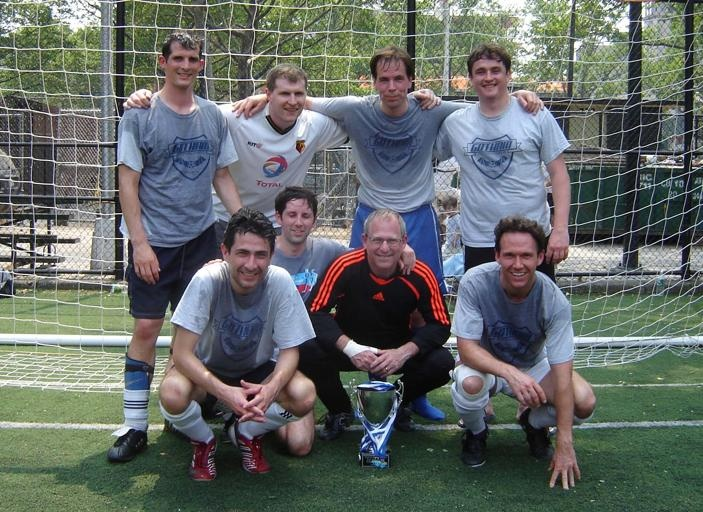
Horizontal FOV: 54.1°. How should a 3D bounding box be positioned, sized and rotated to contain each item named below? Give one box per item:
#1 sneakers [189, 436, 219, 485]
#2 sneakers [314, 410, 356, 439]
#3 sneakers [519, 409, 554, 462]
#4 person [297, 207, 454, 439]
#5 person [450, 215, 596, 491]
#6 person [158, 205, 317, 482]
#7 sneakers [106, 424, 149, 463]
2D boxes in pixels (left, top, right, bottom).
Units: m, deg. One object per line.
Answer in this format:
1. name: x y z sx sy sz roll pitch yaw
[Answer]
1. sneakers: -0.900 1.193 4.169 0.157 0.218 0.328 -3 12 -13
2. sneakers: -0.110 1.151 4.692 0.259 0.110 0.126 -6 -2 -38
3. sneakers: 1.184 1.145 4.454 0.127 0.164 0.380 -5 24 -9
4. person: 0.145 0.457 4.689 1.070 1.430 0.854 -3 22 -9
5. person: 1.029 0.527 4.230 0.812 1.523 0.641 4 13 19
6. person: -0.683 0.509 4.147 0.912 1.569 0.594 -1 12 -5
7. sneakers: -1.425 1.175 4.380 0.186 0.188 0.426 1 1 12
